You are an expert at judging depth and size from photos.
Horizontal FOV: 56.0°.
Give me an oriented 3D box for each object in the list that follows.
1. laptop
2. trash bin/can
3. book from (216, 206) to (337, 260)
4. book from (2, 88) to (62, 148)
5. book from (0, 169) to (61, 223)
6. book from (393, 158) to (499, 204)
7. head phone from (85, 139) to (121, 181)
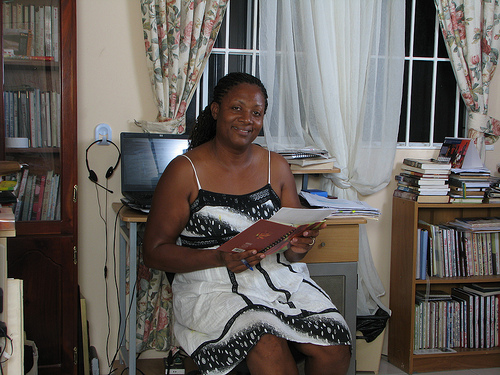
[{"bbox_3d":[-0.544,-0.132,2.714,0.464,0.422,0.392,0,4,-13],"label":"laptop"},{"bbox_3d":[0.715,0.968,2.981,0.278,0.375,0.286,1,-1,0],"label":"trash bin/can"},{"bbox_3d":[0.087,0.184,1.922,0.523,0.078,0.448,-28,-17,20],"label":"book"},{"bbox_3d":[-1.043,-0.323,2.360,0.306,0.346,0.246,0,3,-17],"label":"book"},{"bbox_3d":[-1.039,0.037,2.211,0.203,0.246,0.056,0,5,-16],"label":"book"},{"bbox_3d":[1.206,-0.038,2.947,0.539,0.268,0.216,0,5,6],"label":"book"},{"bbox_3d":[-0.856,-0.148,2.765,0.234,0.263,0.124,0,5,2],"label":"head phone"}]
